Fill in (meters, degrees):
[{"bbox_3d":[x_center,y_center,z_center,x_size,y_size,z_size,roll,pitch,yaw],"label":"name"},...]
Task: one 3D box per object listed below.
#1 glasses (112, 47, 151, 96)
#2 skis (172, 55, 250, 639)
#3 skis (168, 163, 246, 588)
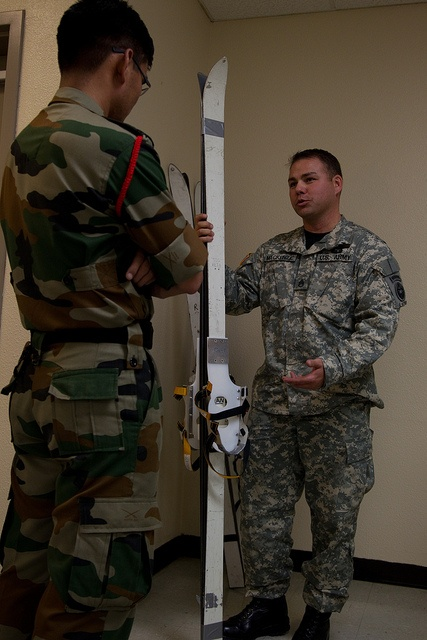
[{"bbox_3d":[-0.177,-0.523,1.226,0.035,0.114,0.114,-11,4,-28],"label":"glasses"},{"bbox_3d":[-0.032,-0.007,1.712,0.251,1.696,0.232,-1,-2,-15],"label":"skis"},{"bbox_3d":[-0.028,0.296,2.026,0.275,1.753,0.136,-2,1,-44],"label":"skis"}]
